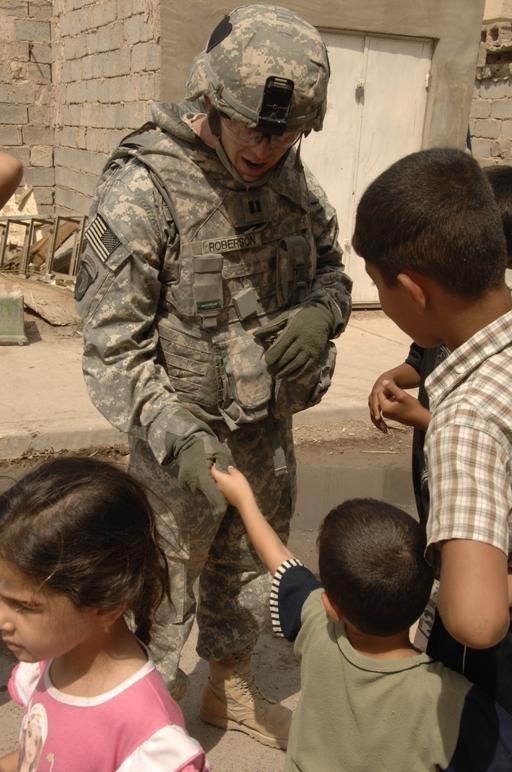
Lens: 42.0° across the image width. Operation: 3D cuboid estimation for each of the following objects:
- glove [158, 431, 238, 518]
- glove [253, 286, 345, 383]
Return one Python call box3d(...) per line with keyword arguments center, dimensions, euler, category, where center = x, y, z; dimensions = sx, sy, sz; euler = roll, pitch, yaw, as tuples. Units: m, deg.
box3d(center=(-0.139, 0.205, 1.636), dimensions=(0.081, 0.201, 0.197), euler=(-39, -11, -22), category="glove")
box3d(center=(0.138, -0.146, 1.981), dimensions=(0.163, 0.271, 0.091), euler=(35, -19, -6), category="glove")
